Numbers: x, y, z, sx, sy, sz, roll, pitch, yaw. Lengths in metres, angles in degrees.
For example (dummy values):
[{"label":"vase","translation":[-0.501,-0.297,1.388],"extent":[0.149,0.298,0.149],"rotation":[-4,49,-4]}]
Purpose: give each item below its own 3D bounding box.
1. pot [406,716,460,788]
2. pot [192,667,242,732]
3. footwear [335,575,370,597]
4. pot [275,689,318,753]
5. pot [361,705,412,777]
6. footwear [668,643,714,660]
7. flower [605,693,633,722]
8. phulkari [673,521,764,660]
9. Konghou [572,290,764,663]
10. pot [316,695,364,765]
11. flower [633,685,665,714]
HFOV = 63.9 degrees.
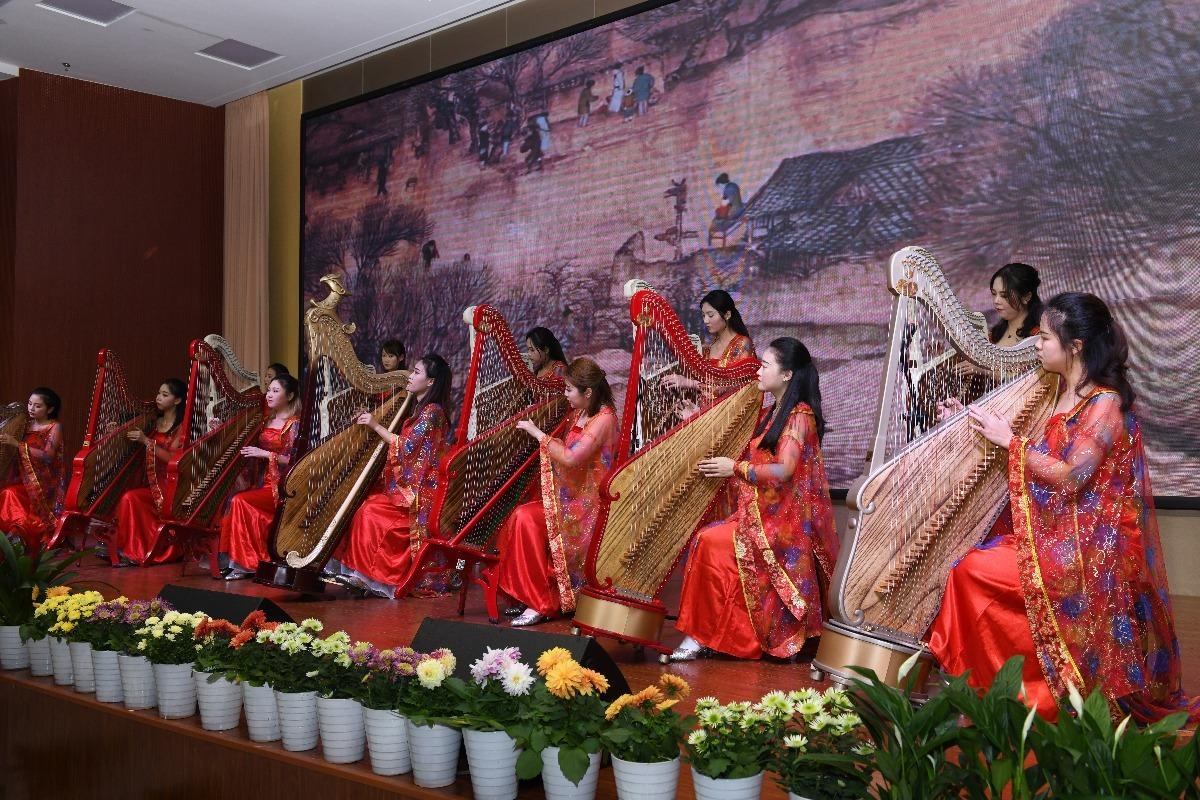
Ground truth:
[{"label":"pot","translation":[-0.556,1.200,3.357],"extent":[0.215,0.219,0.211],"rotation":[0,-5,0]},{"label":"pot","translation":[-1.458,1.145,3.754],"extent":[0.224,0.210,0.201],"rotation":[2,-2,-21]},{"label":"footwear","translation":[-1.612,1.192,6.252],"extent":[0.166,0.069,0.164],"rotation":[11,-2,-38]},{"label":"pot","translation":[-1.090,1.177,3.592],"extent":[0.207,0.208,0.199],"rotation":[-1,-7,0]},{"label":"pot","translation":[-0.745,1.187,3.385],"extent":[0.211,0.198,0.191],"rotation":[-2,-5,12]},{"label":"footwear","translation":[0.473,1.299,4.980],"extent":[0.266,0.102,0.088],"rotation":[10,-12,-30]},{"label":"flower","translation":[0.074,1.007,3.165],"extent":[0.113,0.083,0.069],"rotation":[-6,-1,-14]},{"label":"phulkari","translation":[0.621,0.962,4.901],"extent":[0.430,0.754,0.619],"rotation":[9,-11,-39]},{"label":"Konghou","translation":[0.332,0.348,4.934],"extent":[0.985,1.896,0.574],"rotation":[-6,-1,-40]},{"label":"pot","translation":[-0.917,1.179,3.488],"extent":[0.217,0.221,0.206],"rotation":[-1,-7,0]},{"label":"flower","translation":[0.158,0.985,3.180],"extent":[0.081,0.047,0.082],"rotation":[-16,-20,42]}]
